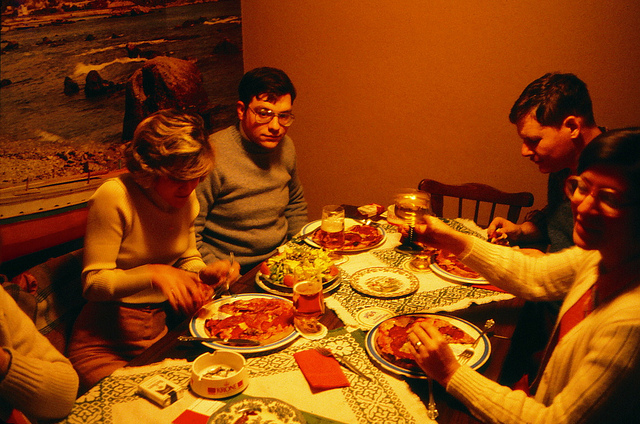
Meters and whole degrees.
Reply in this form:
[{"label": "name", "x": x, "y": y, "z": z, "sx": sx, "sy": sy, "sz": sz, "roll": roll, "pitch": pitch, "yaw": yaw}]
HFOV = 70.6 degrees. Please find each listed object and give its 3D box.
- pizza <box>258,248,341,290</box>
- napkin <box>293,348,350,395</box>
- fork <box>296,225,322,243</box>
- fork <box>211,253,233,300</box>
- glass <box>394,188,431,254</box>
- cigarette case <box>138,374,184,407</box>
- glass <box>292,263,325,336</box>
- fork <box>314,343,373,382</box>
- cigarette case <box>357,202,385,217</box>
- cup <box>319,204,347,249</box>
[{"label": "pizza", "x": -0.018, "y": 0.265, "z": 2.298, "sx": 0.203, "sy": 0.059, "sz": 0.193, "roll": 10, "pitch": 37, "yaw": 39}, {"label": "napkin", "x": 0.004, "y": 0.637, "z": 1.786, "sx": 0.253, "sy": 0.021, "sz": 0.297, "roll": -3, "pitch": 22, "yaw": -13}, {"label": "fork", "x": -0.067, "y": 0.110, "z": 2.827, "sx": 0.048, "sy": 0.042, "sz": 0.399, "roll": 27, "pitch": 19, "yaw": 6}, {"label": "fork", "x": -0.496, "y": 0.330, "z": 2.265, "sx": 0.035, "sy": 0.038, "sz": 0.255, "roll": 25, "pitch": 50, "yaw": -1}, {"label": "glass", "x": 0.538, "y": 0.067, "z": 2.433, "sx": 0.236, "sy": 0.327, "sz": 0.211, "roll": 6, "pitch": 11, "yaw": 4}, {"label": "cigarette case", "x": -0.604, "y": 0.668, "z": 1.704, "sx": 0.125, "sy": 0.033, "sz": 0.089, "roll": 20, "pitch": 28, "yaw": 30}, {"label": "glass", "x": -0.060, "y": 0.385, "z": 2.015, "sx": 0.117, "sy": 0.282, "sz": 0.142, "roll": 5, "pitch": 19, "yaw": 6}, {"label": "fork", "x": 0.092, "y": 0.614, "z": 1.822, "sx": 0.203, "sy": 0.023, "sz": 0.026, "roll": 32, "pitch": 32, "yaw": 33}, {"label": "cigarette case", "x": 0.363, "y": -0.021, "z": 3.121, "sx": 0.090, "sy": 0.049, "sz": 0.163, "roll": 11, "pitch": 18, "yaw": 40}, {"label": "cup", "x": 0.077, "y": 0.097, "z": 2.609, "sx": 0.152, "sy": 0.217, "sz": 0.151, "roll": 0, "pitch": 20, "yaw": 0}]
